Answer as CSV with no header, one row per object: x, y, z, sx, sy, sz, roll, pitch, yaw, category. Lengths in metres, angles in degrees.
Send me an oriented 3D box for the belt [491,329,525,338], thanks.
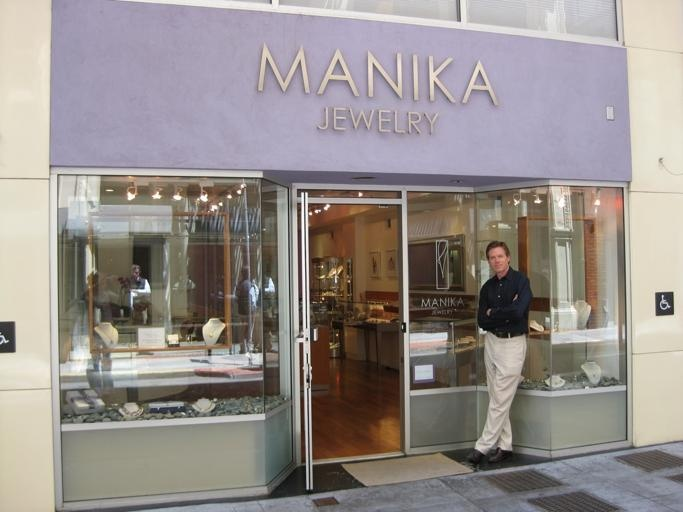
1.793,0.848,6.916,0.337,0.075,0.099,-5,-1,14,belt

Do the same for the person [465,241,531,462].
1.710,1.031,6.926,0.726,2.406,0.416,-4,-1,10,person

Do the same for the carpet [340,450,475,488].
0.672,2.246,6.736,1.239,0.094,0.643,-4,-1,-14,carpet

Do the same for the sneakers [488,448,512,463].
1.707,2.174,6.933,0.322,0.165,0.104,5,-13,-31,sneakers
